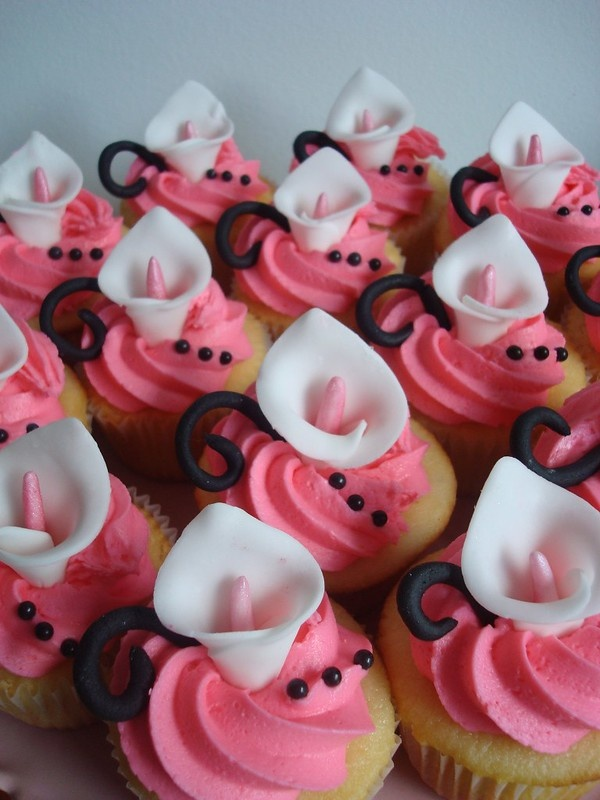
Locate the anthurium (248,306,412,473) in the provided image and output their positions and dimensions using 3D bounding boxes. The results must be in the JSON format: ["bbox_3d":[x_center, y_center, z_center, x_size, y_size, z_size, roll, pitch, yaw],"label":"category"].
[{"bbox_3d":[0.063,-0.007,1.645,0.299,0.271,0.242,17,34,7],"label":"anthurium"}]

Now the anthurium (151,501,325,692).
[{"bbox_3d":[-0.103,0.356,1.465,0.251,0.240,0.232,32,76,34],"label":"anthurium"}]

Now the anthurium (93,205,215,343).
[{"bbox_3d":[-0.298,-0.324,2.161,0.315,0.329,0.295,-2,70,0],"label":"anthurium"}]

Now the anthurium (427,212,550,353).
[{"bbox_3d":[0.459,-0.274,2.044,0.274,0.332,0.282,20,35,9],"label":"anthurium"}]

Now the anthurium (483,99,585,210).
[{"bbox_3d":[0.682,-0.714,2.487,0.267,0.276,0.262,16,34,5],"label":"anthurium"}]

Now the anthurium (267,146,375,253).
[{"bbox_3d":[0.060,-0.539,2.318,0.272,0.292,0.225,7,35,-9],"label":"anthurium"}]

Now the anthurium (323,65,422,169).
[{"bbox_3d":[0.237,-0.893,2.722,0.290,0.219,0.284,-6,70,13],"label":"anthurium"}]
